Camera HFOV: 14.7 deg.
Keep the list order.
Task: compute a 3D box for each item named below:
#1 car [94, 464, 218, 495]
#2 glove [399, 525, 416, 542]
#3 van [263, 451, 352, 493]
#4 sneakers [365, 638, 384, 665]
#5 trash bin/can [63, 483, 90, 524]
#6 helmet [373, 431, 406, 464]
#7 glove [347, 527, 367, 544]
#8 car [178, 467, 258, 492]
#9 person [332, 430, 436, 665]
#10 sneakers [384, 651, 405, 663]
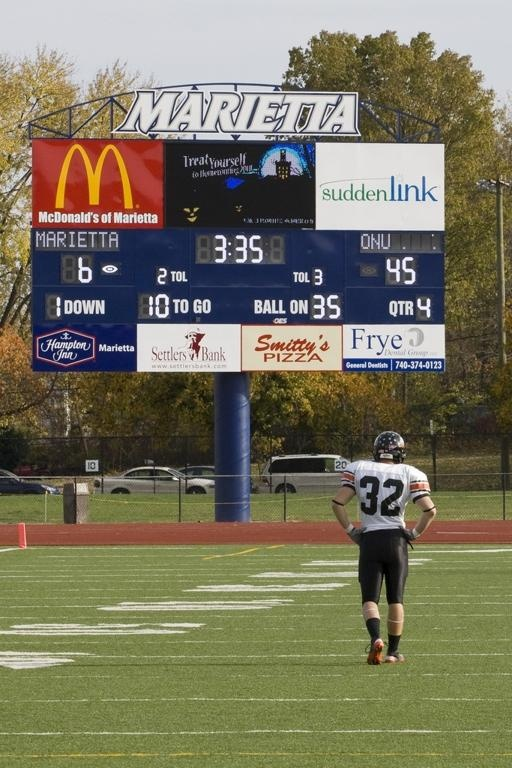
[{"bbox_3d":[-2.242,2.186,45.523,2.365,0.942,1.176,-2,-2,-2],"label":"car"},{"bbox_3d":[1.350,1.337,17.799,0.114,0.185,0.075,8,21,40],"label":"glove"},{"bbox_3d":[1.072,2.125,45.475,1.698,0.915,1.007,-4,3,2],"label":"van"},{"bbox_3d":[1.061,2.354,17.898,0.127,0.321,0.107,31,51,28],"label":"sneakers"},{"bbox_3d":[-3.146,2.061,35.384,0.430,0.748,0.648,-2,-3,-8],"label":"trash bin/can"},{"bbox_3d":[1.201,0.546,18.051,0.200,0.295,0.292,4,3,9],"label":"helmet"},{"bbox_3d":[0.884,1.340,17.803,0.164,0.178,0.137,-5,6,-32],"label":"glove"},{"bbox_3d":[-0.920,2.057,47.254,1.593,0.871,0.829,-2,-1,7],"label":"car"},{"bbox_3d":[1.137,1.438,17.865,0.883,2.061,0.559,-2,-3,1],"label":"person"},{"bbox_3d":[1.263,2.465,18.138,0.076,0.099,0.204,6,7,32],"label":"sneakers"}]
